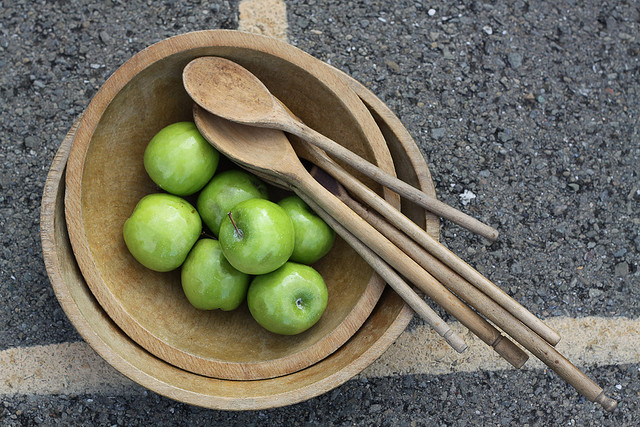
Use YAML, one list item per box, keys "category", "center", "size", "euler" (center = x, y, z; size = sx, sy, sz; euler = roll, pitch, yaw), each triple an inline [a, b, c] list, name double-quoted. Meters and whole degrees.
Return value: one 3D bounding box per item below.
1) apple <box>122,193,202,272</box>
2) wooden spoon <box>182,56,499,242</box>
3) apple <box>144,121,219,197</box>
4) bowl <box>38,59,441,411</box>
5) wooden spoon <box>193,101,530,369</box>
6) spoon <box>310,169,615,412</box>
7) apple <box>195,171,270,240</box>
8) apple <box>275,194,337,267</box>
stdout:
- category: "apple"
  center: [-0.449, 0.049, 2.045]
  size: [0.199, 0.211, 0.219]
  euler: [35, 84, 5]
- category: "wooden spoon"
  center: [0.033, -0.175, 2.035]
  size: [1.047, 0.129, 0.202]
  euler: [26, 75, -7]
- category: "apple"
  center: [-0.423, -0.181, 2.050]
  size: [0.203, 0.234, 0.205]
  euler: [-2, 49, -29]
- category: "bowl"
  center: [-0.265, 0.167, 2.059]
  size: [1.239, 0.480, 0.913]
  euler: [-10, 85, -3]
- category: "wooden spoon"
  center: [0.090, 0.092, 2.007]
  size: [1.096, 0.099, 0.182]
  euler: [41, 49, 2]
- category: "spoon"
  center: [0.415, 0.266, 2.091]
  size: [1.002, 0.103, 0.049]
  euler: [45, 105, 3]
- category: "apple"
  center: [-0.269, -0.032, 2.076]
  size: [0.176, 0.188, 0.210]
  euler: [-11, 88, -12]
- category: "apple"
  center: [-0.050, 0.016, 2.073]
  size: [0.180, 0.188, 0.196]
  euler: [-36, 96, -3]
